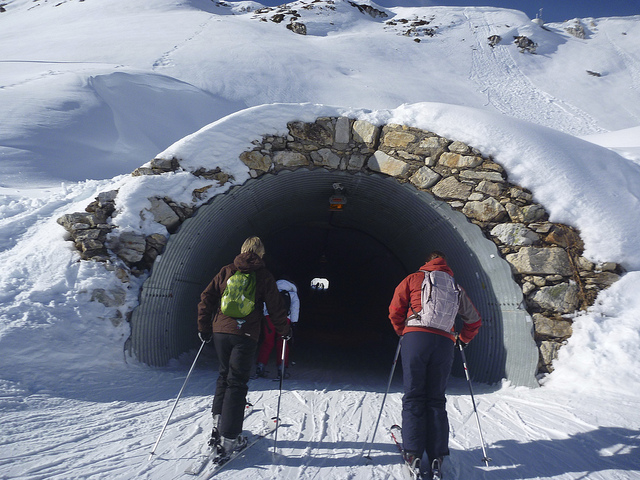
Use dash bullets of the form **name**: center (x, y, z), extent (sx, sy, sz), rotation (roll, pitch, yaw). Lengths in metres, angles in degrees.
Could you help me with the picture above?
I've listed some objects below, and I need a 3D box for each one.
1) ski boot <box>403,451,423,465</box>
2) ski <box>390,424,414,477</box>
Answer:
- **ski boot**: center (1.473, 3.630, 10.102), extent (0.311, 0.184, 0.187), rotation (6, 67, 6)
- **ski**: center (1.372, 3.587, 10.496), extent (0.244, 0.139, 0.809), rotation (-35, 71, 12)
